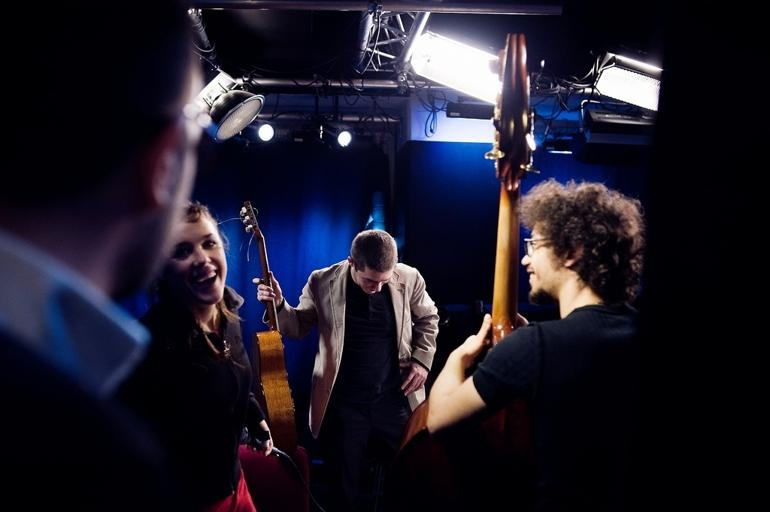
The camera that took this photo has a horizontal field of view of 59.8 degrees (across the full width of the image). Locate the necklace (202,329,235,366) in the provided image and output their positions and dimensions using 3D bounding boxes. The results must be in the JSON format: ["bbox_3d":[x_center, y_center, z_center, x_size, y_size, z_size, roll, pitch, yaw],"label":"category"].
[{"bbox_3d":[-0.873,0.468,3.529,0.048,0.167,0.117,-37,-20,26],"label":"necklace"}]
